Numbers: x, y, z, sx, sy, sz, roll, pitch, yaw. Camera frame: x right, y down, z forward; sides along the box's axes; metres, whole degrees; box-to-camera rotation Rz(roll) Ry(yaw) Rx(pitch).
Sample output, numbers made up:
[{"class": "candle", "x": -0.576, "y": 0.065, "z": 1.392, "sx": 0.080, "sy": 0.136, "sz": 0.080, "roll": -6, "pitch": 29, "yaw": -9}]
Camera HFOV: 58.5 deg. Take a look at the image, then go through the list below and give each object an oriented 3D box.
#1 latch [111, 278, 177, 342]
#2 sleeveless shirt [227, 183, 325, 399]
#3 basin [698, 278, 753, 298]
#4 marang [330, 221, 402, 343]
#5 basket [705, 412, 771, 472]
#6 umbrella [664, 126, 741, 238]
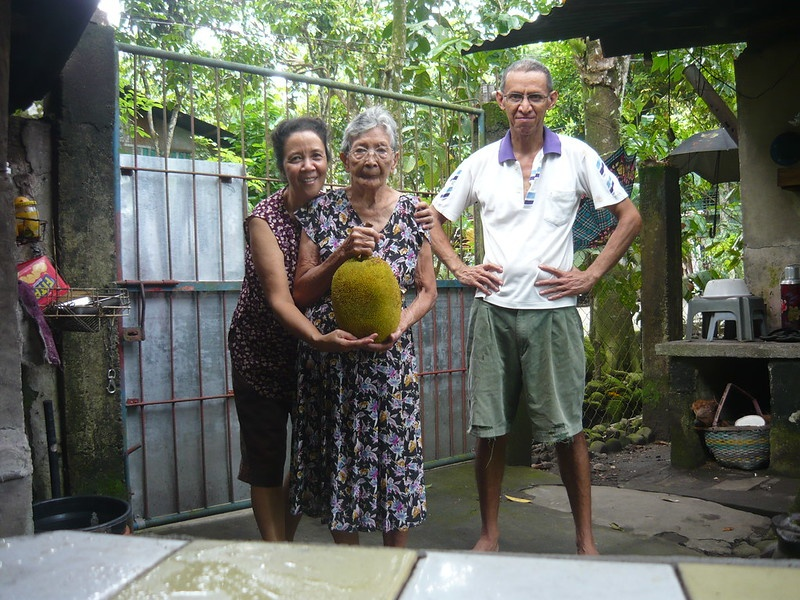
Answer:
[{"class": "latch", "x": -1.466, "y": 0.058, "z": 4.055, "sx": 0.361, "sy": 0.361, "sz": 0.120, "roll": 1, "pitch": 10, "yaw": -36}, {"class": "sleeveless shirt", "x": -0.612, "y": -0.045, "z": 3.314, "sx": 0.328, "sy": 0.916, "sz": 0.346, "roll": -2, "pitch": 11, "yaw": -40}, {"class": "basin", "x": 2.482, "y": -0.083, "z": 5.427, "sx": 0.336, "sy": 0.164, "sz": 0.179, "roll": 0, "pitch": -9, "yaw": 0}, {"class": "marang", "x": -0.142, "y": 0.000, "z": 2.965, "sx": 0.284, "sy": 0.357, "sz": 0.158, "roll": 1, "pitch": -9, "yaw": -3}, {"class": "basket", "x": 2.464, "y": 1.089, "z": 5.260, "sx": 0.421, "sy": 0.322, "sz": 0.222, "roll": -4, "pitch": -10, "yaw": 20}, {"class": "umbrella", "x": 3.271, "y": -1.483, "z": 8.336, "sx": 0.879, "sy": 1.727, "sz": 1.106, "roll": 5, "pitch": 7, "yaw": 29}]
